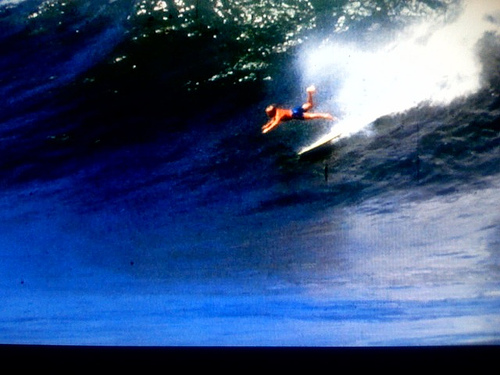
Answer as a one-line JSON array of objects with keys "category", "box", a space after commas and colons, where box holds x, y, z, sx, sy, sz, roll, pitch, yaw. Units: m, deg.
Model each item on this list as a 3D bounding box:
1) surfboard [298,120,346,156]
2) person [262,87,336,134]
[{"category": "surfboard", "box": [0.843, -0.573, 8.505, 0.713, 0.099, 0.048, -31, 7, 19]}, {"category": "person", "box": [0.570, -0.994, 8.346, 0.249, 0.454, 0.724, -36, -41, 20]}]
